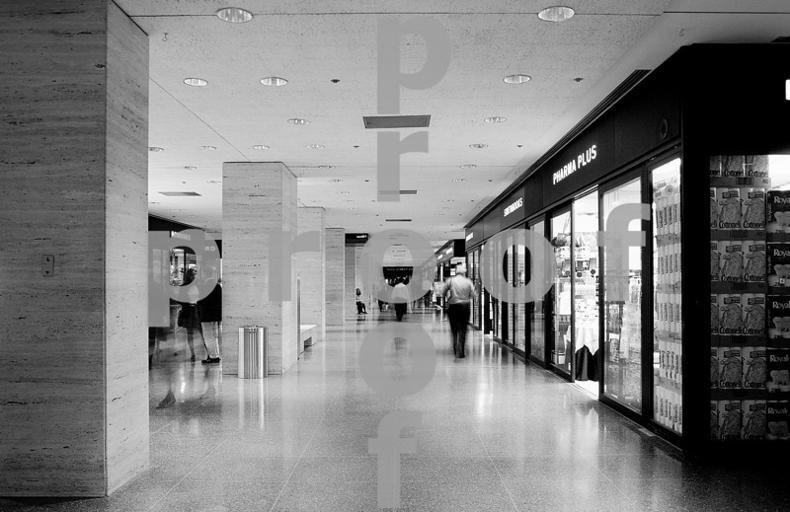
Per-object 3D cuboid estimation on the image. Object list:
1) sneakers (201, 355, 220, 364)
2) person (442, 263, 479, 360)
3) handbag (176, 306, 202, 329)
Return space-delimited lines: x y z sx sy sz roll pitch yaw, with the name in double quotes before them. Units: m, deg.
"sneakers" -3.759 2.109 12.663 0.440 0.160 0.155 4 -7 -16
"person" 1.354 1.176 13.595 0.670 2.034 1.476 0 3 5
"handbag" -4.328 1.288 13.227 0.620 0.572 0.322 2 3 38
